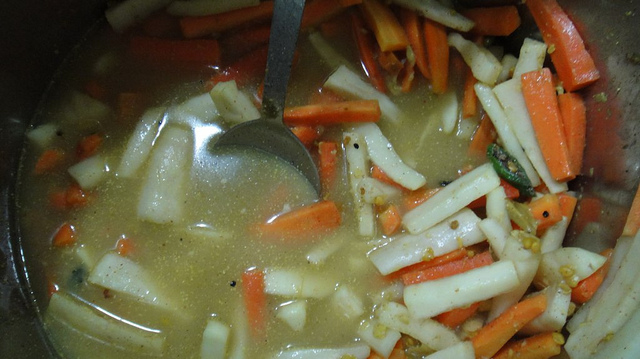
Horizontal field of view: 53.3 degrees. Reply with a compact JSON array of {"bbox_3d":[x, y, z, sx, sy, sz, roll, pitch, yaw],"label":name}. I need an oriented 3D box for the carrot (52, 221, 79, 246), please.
[{"bbox_3d":[-2.222,0.476,5.554,0.181,0.069,0.225,15,87,6],"label":"carrot"}]

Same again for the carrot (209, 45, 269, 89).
[{"bbox_3d":[-0.726,-0.989,5.657,0.455,0.113,0.093,-30,65,2],"label":"carrot"}]

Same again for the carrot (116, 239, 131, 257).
[{"bbox_3d":[-1.706,0.586,5.541,0.116,0.010,0.141,22,84,3],"label":"carrot"}]

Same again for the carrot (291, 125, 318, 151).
[{"bbox_3d":[-0.132,-0.388,5.688,0.194,0.218,0.148,17,62,18],"label":"carrot"}]

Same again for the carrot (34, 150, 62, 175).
[{"bbox_3d":[-2.412,-0.138,5.635,0.062,0.177,0.274,-37,68,21],"label":"carrot"}]
